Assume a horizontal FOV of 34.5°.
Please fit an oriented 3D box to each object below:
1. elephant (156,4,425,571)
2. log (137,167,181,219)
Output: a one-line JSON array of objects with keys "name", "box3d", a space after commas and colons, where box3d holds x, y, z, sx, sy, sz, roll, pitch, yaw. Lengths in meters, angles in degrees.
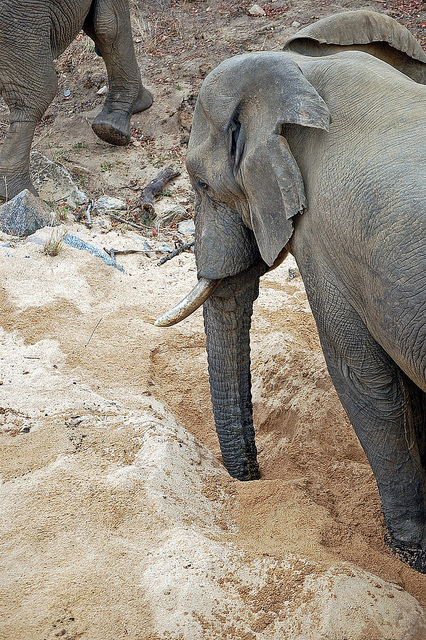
[{"name": "elephant", "box3d": [0.258, -0.012, 2.724, 0.957, 1.936, 1.589, 0, 39, -5]}, {"name": "log", "box3d": [-0.632, -1.461, 7.649, 0.241, 0.277, 0.800, 23, 45, 9]}]
